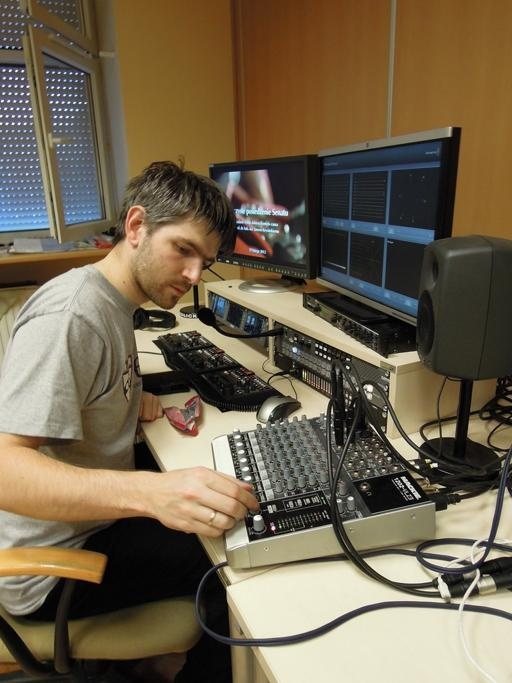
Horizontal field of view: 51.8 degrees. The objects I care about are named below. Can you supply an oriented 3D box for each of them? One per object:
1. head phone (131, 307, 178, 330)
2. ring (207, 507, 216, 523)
[{"bbox_3d":[-0.405,-0.092,2.113,0.137,0.066,0.129,2,10,-3],"label":"head phone"},{"bbox_3d":[-0.067,0.262,0.792,0.006,0.017,0.020,29,-15,2],"label":"ring"}]
